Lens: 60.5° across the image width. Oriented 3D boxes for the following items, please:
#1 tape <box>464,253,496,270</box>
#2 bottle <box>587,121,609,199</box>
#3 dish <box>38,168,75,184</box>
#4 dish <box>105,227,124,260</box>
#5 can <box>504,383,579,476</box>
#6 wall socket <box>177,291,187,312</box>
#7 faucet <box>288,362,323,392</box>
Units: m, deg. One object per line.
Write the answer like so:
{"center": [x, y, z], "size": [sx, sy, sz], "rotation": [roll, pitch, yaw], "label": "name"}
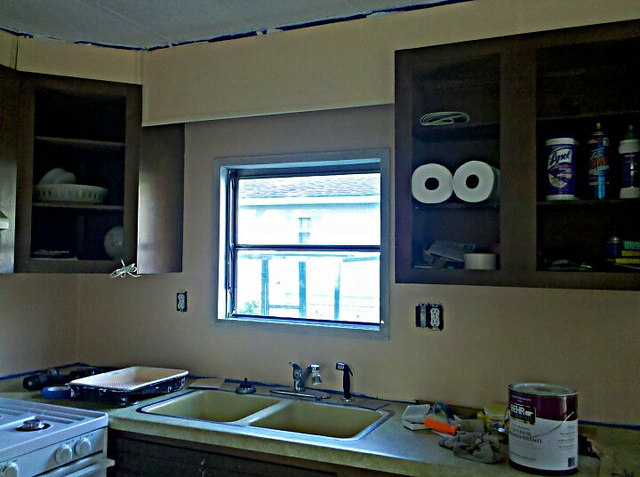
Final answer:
{"center": [0.663, 0.102, 2.261], "size": [0.080, 0.051, 0.081], "rotation": [-2, -5, 34], "label": "tape"}
{"center": [1.104, -0.311, 2.176], "size": [0.077, 0.297, 0.036], "rotation": [2, 5, 22], "label": "bottle"}
{"center": [-1.351, -0.324, 2.810], "size": [0.053, 0.082, 0.163], "rotation": [4, 7, 38], "label": "dish"}
{"center": [-1.072, 0.025, 2.857], "size": [0.109, 0.159, 0.024], "rotation": [1, 5, 12], "label": "dish"}
{"center": [0.805, 0.689, 2.009], "size": [0.234, 0.320, 0.214], "rotation": [1, -5, 0], "label": "can"}
{"center": [-0.792, 0.362, 3.140], "size": [0.065, 0.119, 0.018], "rotation": [2, 5, 21], "label": "wall socket"}
{"center": [-0.074, 0.710, 2.816], "size": [0.176, 0.153, 0.144], "rotation": [1, 5, 11], "label": "faucet"}
